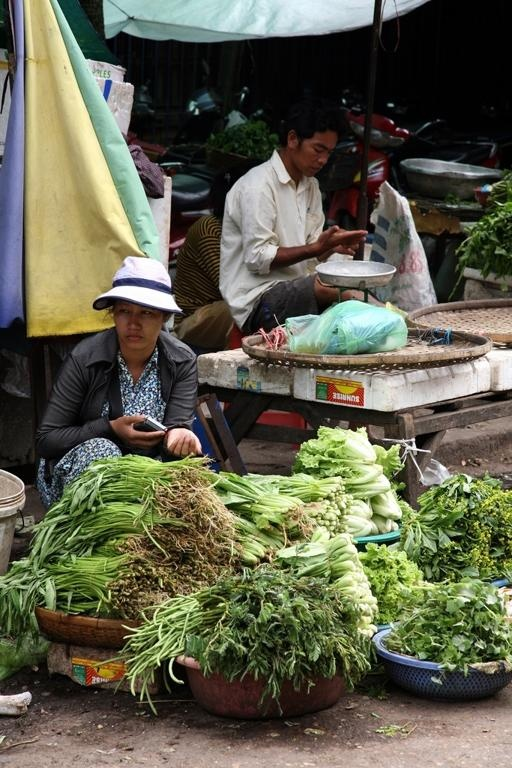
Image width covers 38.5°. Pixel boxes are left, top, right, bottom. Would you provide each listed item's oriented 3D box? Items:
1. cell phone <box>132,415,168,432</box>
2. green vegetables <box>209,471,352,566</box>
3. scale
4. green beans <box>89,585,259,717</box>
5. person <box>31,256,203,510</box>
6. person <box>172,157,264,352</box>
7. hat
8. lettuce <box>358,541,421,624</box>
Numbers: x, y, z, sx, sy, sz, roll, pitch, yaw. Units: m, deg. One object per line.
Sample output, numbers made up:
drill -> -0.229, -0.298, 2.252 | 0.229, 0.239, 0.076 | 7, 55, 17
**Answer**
cell phone -> -0.394, 0.147, 2.658 | 0.140, 0.057, 0.089 | -1, -4, 16
green vegetables -> 0.069, 0.440, 2.367 | 0.363, 0.190, 0.505 | -6, 11, -31
scale -> 0.500, -0.540, 3.814 | 0.333, 0.191, 0.334 | 18, 20, 34
green beans -> -0.219, 0.691, 1.980 | 0.340, 0.328, 0.241 | -1, -3, 8
person -> -0.452, 0.043, 2.904 | 0.684, 0.999, 0.673 | -6, 21, -33
person -> -0.380, -0.846, 5.474 | 0.764, 1.561, 0.750 | 18, 23, 34
hat -> -0.462, -0.401, 2.817 | 0.308, 0.269, 0.358 | 1, -4, -20
lettuce -> 0.431, 0.653, 2.377 | 0.195, 0.198, 0.199 | 1, 40, 45
